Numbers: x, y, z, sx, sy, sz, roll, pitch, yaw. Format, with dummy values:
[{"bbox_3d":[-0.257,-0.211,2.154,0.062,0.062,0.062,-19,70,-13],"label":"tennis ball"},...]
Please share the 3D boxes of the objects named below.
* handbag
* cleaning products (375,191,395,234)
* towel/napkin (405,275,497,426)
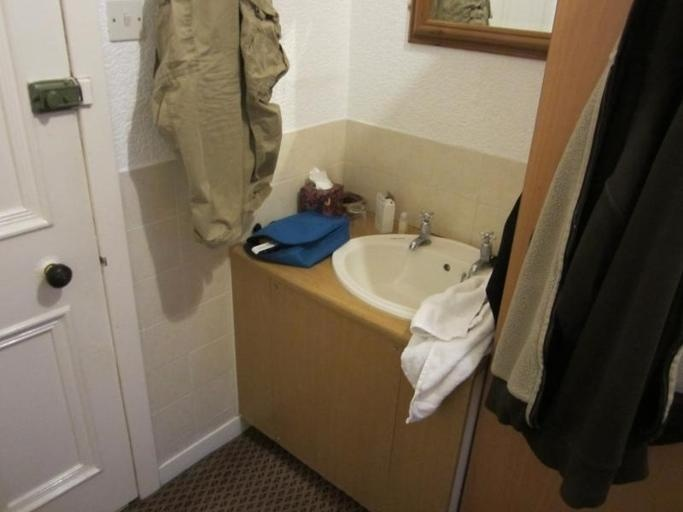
[{"bbox_3d":[-0.127,-0.069,1.948,0.208,0.090,0.258,18,36,32],"label":"handbag"},{"bbox_3d":[0.170,-0.161,2.100,0.052,0.146,0.083,-16,48,-19],"label":"cleaning products"},{"bbox_3d":[0.304,0.281,1.591,0.271,0.278,0.289,1,29,-5],"label":"towel/napkin"}]
